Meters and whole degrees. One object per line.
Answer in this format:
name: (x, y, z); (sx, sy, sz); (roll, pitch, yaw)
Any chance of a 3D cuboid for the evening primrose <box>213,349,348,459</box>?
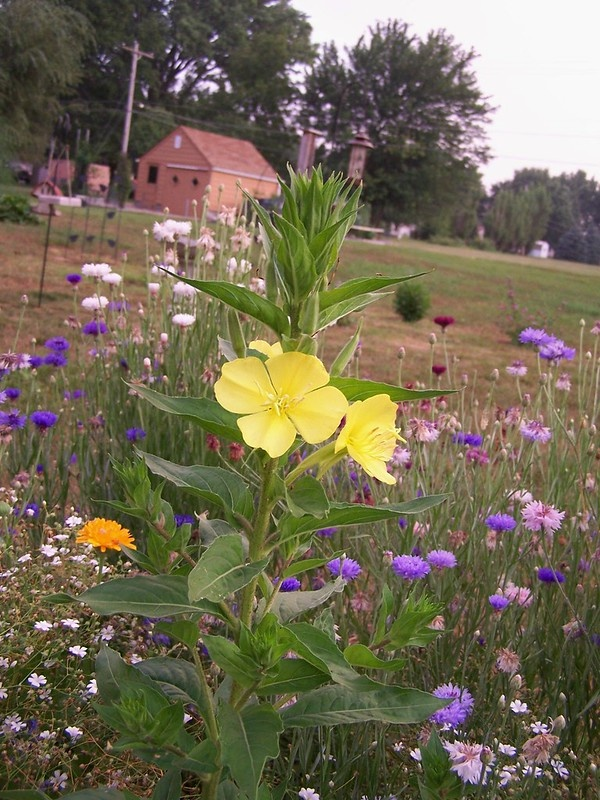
evening primrose: (-0.023, -0.001, 0.857); (0.142, 0.134, 0.046); (12, -17, -1)
